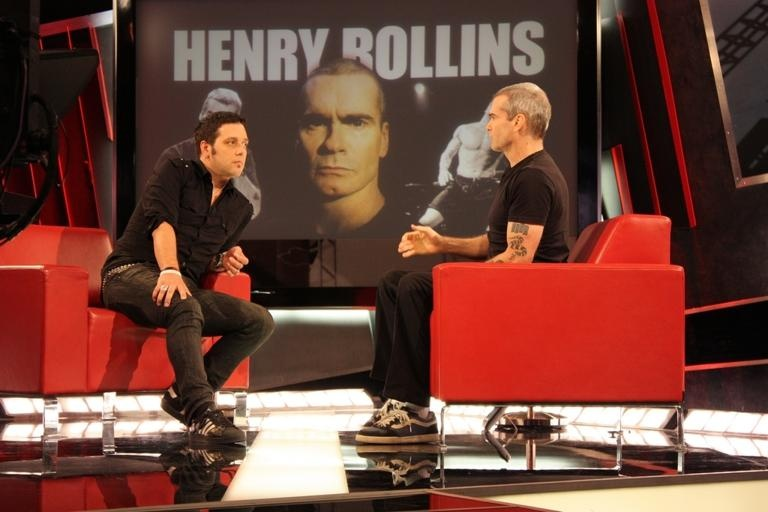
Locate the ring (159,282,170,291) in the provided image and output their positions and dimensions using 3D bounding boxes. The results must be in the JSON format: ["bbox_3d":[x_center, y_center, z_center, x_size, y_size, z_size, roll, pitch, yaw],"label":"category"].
[{"bbox_3d":[-1.088,0.156,4.050,0.046,0.029,0.015,2,2,-4],"label":"ring"}]

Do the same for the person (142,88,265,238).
[{"bbox_3d":[-1.143,-0.642,5.654,0.751,1.119,0.395,12,-1,-7],"label":"person"}]

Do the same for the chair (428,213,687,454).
[{"bbox_3d":[0.841,0.353,4.215,1.037,0.936,1.217,1,-3,2],"label":"chair"}]

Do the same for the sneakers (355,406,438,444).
[{"bbox_3d":[0.064,0.833,4.091,0.408,0.208,0.177,1,-5,-1],"label":"sneakers"}]
